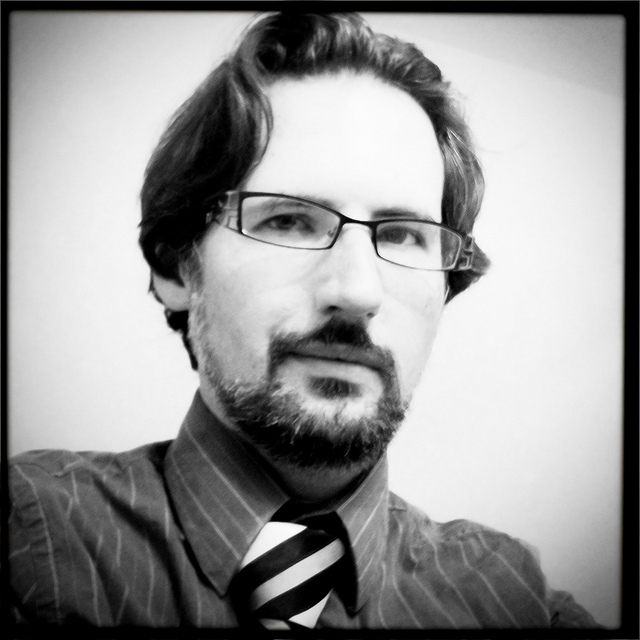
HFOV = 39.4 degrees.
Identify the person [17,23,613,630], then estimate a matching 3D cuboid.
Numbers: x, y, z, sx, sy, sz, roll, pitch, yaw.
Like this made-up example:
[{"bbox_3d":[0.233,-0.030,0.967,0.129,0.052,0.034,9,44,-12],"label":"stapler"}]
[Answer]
[{"bbox_3d":[-0.076,0.043,1.571,0.988,1.052,0.529,7,-8,-24],"label":"person"}]
